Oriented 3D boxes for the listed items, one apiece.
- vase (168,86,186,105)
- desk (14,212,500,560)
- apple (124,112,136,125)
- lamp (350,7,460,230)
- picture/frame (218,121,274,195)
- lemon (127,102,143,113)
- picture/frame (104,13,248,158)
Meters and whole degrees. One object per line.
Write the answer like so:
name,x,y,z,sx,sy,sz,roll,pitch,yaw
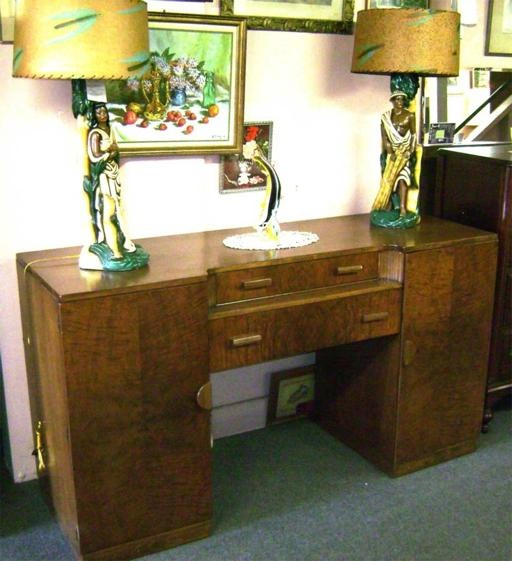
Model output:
vase,-0.272,-0.662,1.851,0.057,0.052,0.057,22,36,26
desk,0.080,0.308,1.873,1.545,0.976,0.578,-8,16,-34
apple,-0.431,-0.560,1.776,0.042,0.039,0.021,-7,34,-14
lamp,0.557,-0.618,1.996,0.337,0.820,0.328,11,18,38
picture/frame,-0.044,-0.483,1.977,0.309,0.323,0.022,-20,40,-31
lemon,-0.415,-0.593,1.773,0.038,0.026,0.028,23,-13,-29
picture/frame,-0.275,-0.663,1.723,0.631,0.495,0.049,-12,27,-31
